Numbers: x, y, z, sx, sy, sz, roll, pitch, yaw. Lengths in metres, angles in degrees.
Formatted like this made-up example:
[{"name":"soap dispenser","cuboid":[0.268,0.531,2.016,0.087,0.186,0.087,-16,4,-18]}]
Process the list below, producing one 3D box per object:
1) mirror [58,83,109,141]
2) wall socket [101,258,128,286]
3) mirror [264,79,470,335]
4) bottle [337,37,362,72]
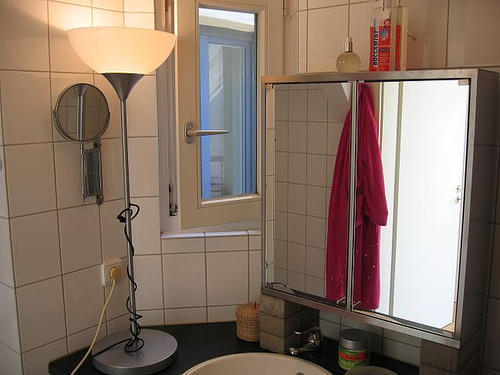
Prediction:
[{"name":"mirror","cuboid":[-0.646,-0.280,1.668,0.201,0.264,0.024,-2,-19,-19]},{"name":"wall socket","cuboid":[-0.586,0.362,1.854,0.013,0.113,0.121,1,3,34]},{"name":"mirror","cuboid":[0.373,0.056,1.521,0.707,0.904,0.043,7,21,32]},{"name":"bottle","cuboid":[0.351,-0.473,1.543,0.072,0.120,0.068,-2,10,0]}]
